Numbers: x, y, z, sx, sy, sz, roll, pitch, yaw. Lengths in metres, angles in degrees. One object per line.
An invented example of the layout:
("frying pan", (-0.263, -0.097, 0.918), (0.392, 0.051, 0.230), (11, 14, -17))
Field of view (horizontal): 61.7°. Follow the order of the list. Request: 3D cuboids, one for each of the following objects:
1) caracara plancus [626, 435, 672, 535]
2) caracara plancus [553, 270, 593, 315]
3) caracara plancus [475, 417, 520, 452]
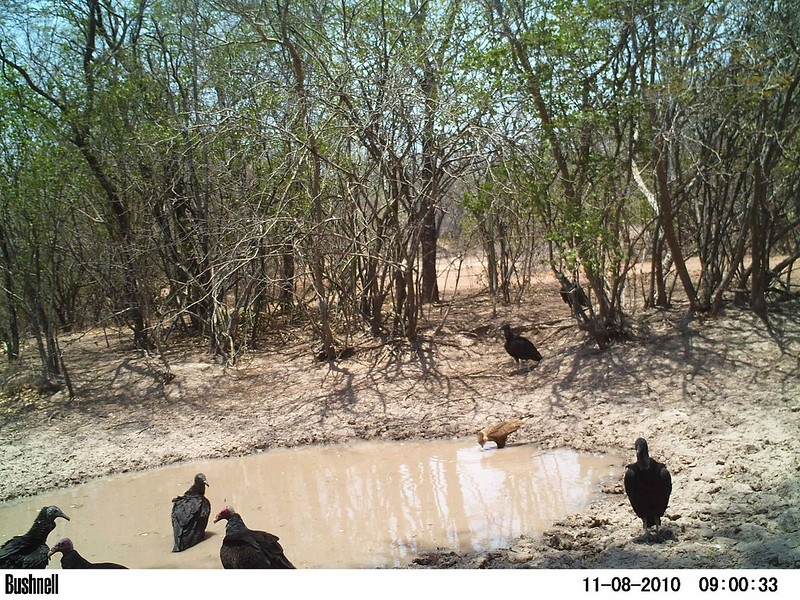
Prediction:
("caracara plancus", (2.897, 2.185, 7.786), (0.469, 1.024, 0.300), (-1, 8, 22))
("caracara plancus", (3.418, -0.140, 13.274), (0.629, 0.836, 0.283), (1, -28, -40))
("caracara plancus", (1.605, 2.082, 10.601), (0.876, 0.357, 0.277), (-27, 11, -17))
